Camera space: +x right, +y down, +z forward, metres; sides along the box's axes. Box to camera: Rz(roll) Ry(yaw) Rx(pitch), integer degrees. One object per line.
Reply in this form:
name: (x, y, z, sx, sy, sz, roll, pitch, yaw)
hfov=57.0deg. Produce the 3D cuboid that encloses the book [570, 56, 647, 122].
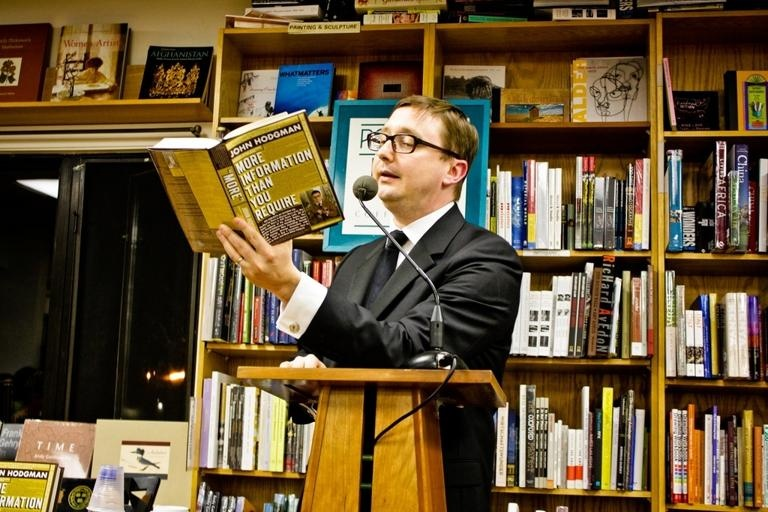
book: (1.235, -0.900, 3.857, 0.392, 0.415, 0.071, 3, -17, 0)

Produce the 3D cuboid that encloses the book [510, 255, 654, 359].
book: (0.989, 0.266, 3.548, 0.701, 0.472, 0.086, -1, -7, 5)

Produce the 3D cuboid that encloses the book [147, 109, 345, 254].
book: (-0.411, -0.251, 2.213, 0.669, 0.419, 0.156, -15, 15, 11)

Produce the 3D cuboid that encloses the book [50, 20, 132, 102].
book: (-1.803, -1.194, 4.393, 0.607, 0.683, 0.092, -1, -25, 4)

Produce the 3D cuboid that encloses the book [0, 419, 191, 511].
book: (-1.364, 1.001, 3.357, 0.518, 0.351, 0.054, 0, -21, 0)

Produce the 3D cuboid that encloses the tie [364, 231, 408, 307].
tie: (0.022, 0.048, 2.671, 0.098, 0.375, 0.062, 26, -42, -8)

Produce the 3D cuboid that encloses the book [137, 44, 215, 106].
book: (-1.230, -1.073, 4.237, 0.503, 0.466, 0.056, 1, -28, 8)
